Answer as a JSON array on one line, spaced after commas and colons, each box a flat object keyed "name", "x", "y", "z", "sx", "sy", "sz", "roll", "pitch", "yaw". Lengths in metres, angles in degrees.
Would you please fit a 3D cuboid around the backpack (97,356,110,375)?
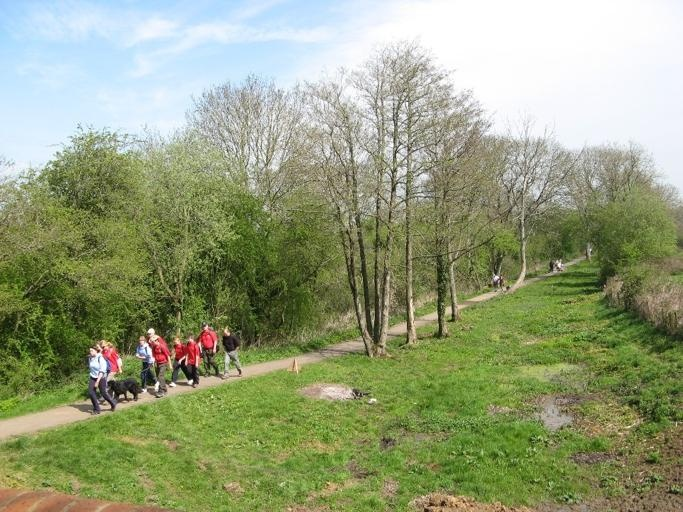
[{"name": "backpack", "x": -9.463, "y": 4.325, "z": 22.492, "sx": 0.223, "sy": 0.932, "sz": 0.582, "roll": 3, "pitch": 12, "yaw": 14}]

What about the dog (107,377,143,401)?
[{"name": "dog", "x": -9.009, "y": 5.483, "z": 23.364, "sx": 1.243, "sy": 1.166, "sz": 0.943, "roll": -6, "pitch": 14, "yaw": -27}]
